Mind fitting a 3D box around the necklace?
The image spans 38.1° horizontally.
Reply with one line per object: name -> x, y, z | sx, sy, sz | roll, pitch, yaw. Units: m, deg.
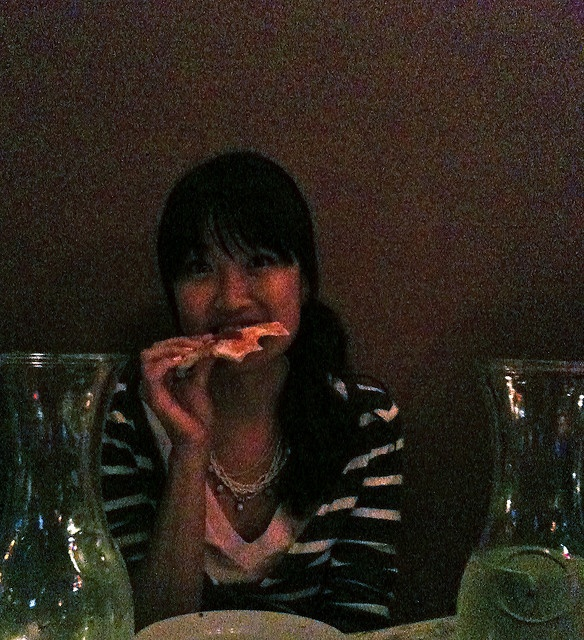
necklace -> -0.063, 0.245, 1.412 | 0.127, 0.058, 0.160 | -16, 13, 18
